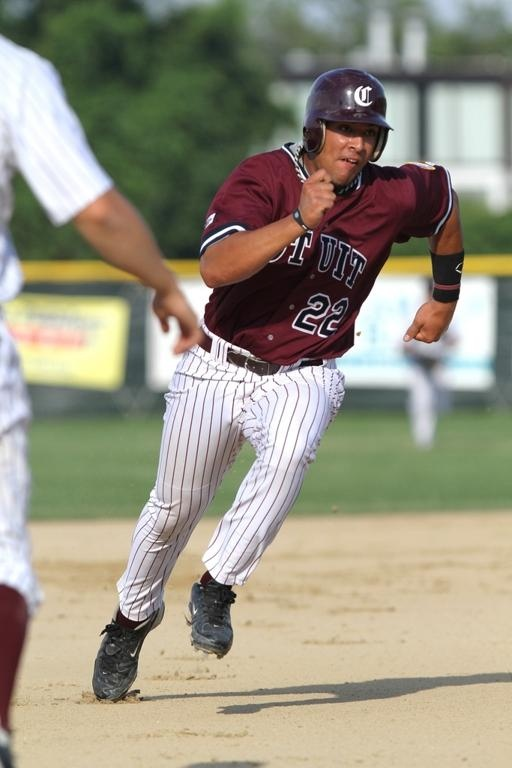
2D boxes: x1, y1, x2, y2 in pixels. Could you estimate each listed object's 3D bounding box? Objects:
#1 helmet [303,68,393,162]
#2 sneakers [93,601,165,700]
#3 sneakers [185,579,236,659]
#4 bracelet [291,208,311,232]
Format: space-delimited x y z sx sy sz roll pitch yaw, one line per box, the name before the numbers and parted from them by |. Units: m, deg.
helmet | 0.245 -0.784 3.134 0.264 0.230 0.305 2 -1 -22
sneakers | -0.423 0.841 3.332 0.139 0.313 0.143 17 -15 8
sneakers | -0.130 0.684 3.153 0.108 0.145 0.297 21 6 -18
bracelet | 0.112 -0.404 2.635 0.045 0.027 0.045 24 -23 14
